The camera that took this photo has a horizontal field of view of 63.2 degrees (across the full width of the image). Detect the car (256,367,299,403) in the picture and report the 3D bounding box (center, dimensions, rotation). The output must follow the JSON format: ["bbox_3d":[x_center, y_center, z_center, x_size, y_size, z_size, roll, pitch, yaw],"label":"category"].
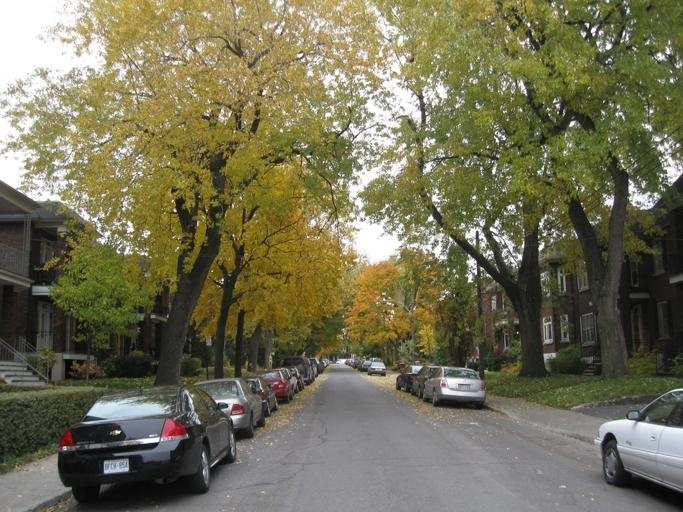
[{"bbox_3d":[-2.906,6.068,26.285,0.975,1.011,2.662,0,-7,4],"label":"car"}]

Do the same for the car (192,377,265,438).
[{"bbox_3d":[-2.950,4.264,15.975,1.067,1.054,2.851,-1,-7,4],"label":"car"}]

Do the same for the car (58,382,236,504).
[{"bbox_3d":[-3.276,3.201,10.111,1.467,1.423,3.613,-2,-8,5],"label":"car"}]

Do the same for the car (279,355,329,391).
[{"bbox_3d":[-3.210,8.746,42.531,1.790,2.007,4.515,-1,-6,7],"label":"car"}]
